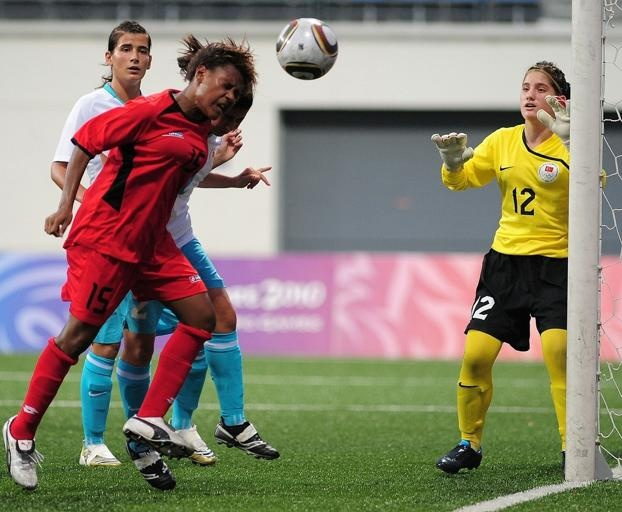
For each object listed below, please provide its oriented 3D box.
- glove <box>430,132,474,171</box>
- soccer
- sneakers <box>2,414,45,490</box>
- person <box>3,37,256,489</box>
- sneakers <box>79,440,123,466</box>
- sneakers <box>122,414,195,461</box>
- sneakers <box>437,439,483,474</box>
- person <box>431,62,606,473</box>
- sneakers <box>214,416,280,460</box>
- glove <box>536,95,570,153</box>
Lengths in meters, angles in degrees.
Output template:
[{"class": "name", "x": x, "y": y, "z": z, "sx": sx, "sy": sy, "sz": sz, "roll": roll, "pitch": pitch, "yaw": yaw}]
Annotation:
[{"class": "glove", "x": 0.927, "y": -0.644, "z": 7.159, "sx": 0.230, "sy": 0.292, "sz": 0.168, "roll": 8, "pitch": 35, "yaw": 20}, {"class": "soccer", "x": -0.005, "y": -1.331, "z": 7.429, "sx": 0.423, "sy": 0.387, "sz": 0.415, "roll": 3, "pitch": -7, "yaw": 31}, {"class": "sneakers", "x": -1.644, "y": 1.132, "z": 6.509, "sx": 0.164, "sy": 0.458, "sz": 0.202, "roll": -14, "pitch": -7, "yaw": -43}, {"class": "person", "x": -1.005, "y": 0.048, "z": 6.482, "sx": 1.390, "sy": 2.534, "sz": 0.488, "roll": 0, "pitch": 5, "yaw": -4}, {"class": "sneakers", "x": -1.330, "y": 1.257, "z": 7.175, "sx": 0.125, "sy": 0.094, "sz": 0.251, "roll": 8, "pitch": -10, "yaw": -42}, {"class": "sneakers", "x": -0.845, "y": 1.021, "z": 6.458, "sx": 0.178, "sy": 0.228, "sz": 0.510, "roll": -26, "pitch": -38, "yaw": 31}, {"class": "sneakers", "x": 0.944, "y": 1.243, "z": 7.026, "sx": 0.393, "sy": 0.174, "sz": 0.138, "roll": 2, "pitch": 4, "yaw": -41}, {"class": "person", "x": 1.230, "y": 0.057, "z": 7.087, "sx": 0.768, "sy": 2.497, "sz": 0.615, "roll": 1, "pitch": 5, "yaw": 6}, {"class": "sneakers", "x": -0.376, "y": 1.154, "z": 7.174, "sx": 0.467, "sy": 0.182, "sz": 0.179, "roll": 14, "pitch": 0, "yaw": 25}, {"class": "glove", "x": 1.496, "y": -0.806, "z": 6.841, "sx": 0.144, "sy": 0.311, "sz": 0.304, "roll": -3, "pitch": 6, "yaw": -33}]
